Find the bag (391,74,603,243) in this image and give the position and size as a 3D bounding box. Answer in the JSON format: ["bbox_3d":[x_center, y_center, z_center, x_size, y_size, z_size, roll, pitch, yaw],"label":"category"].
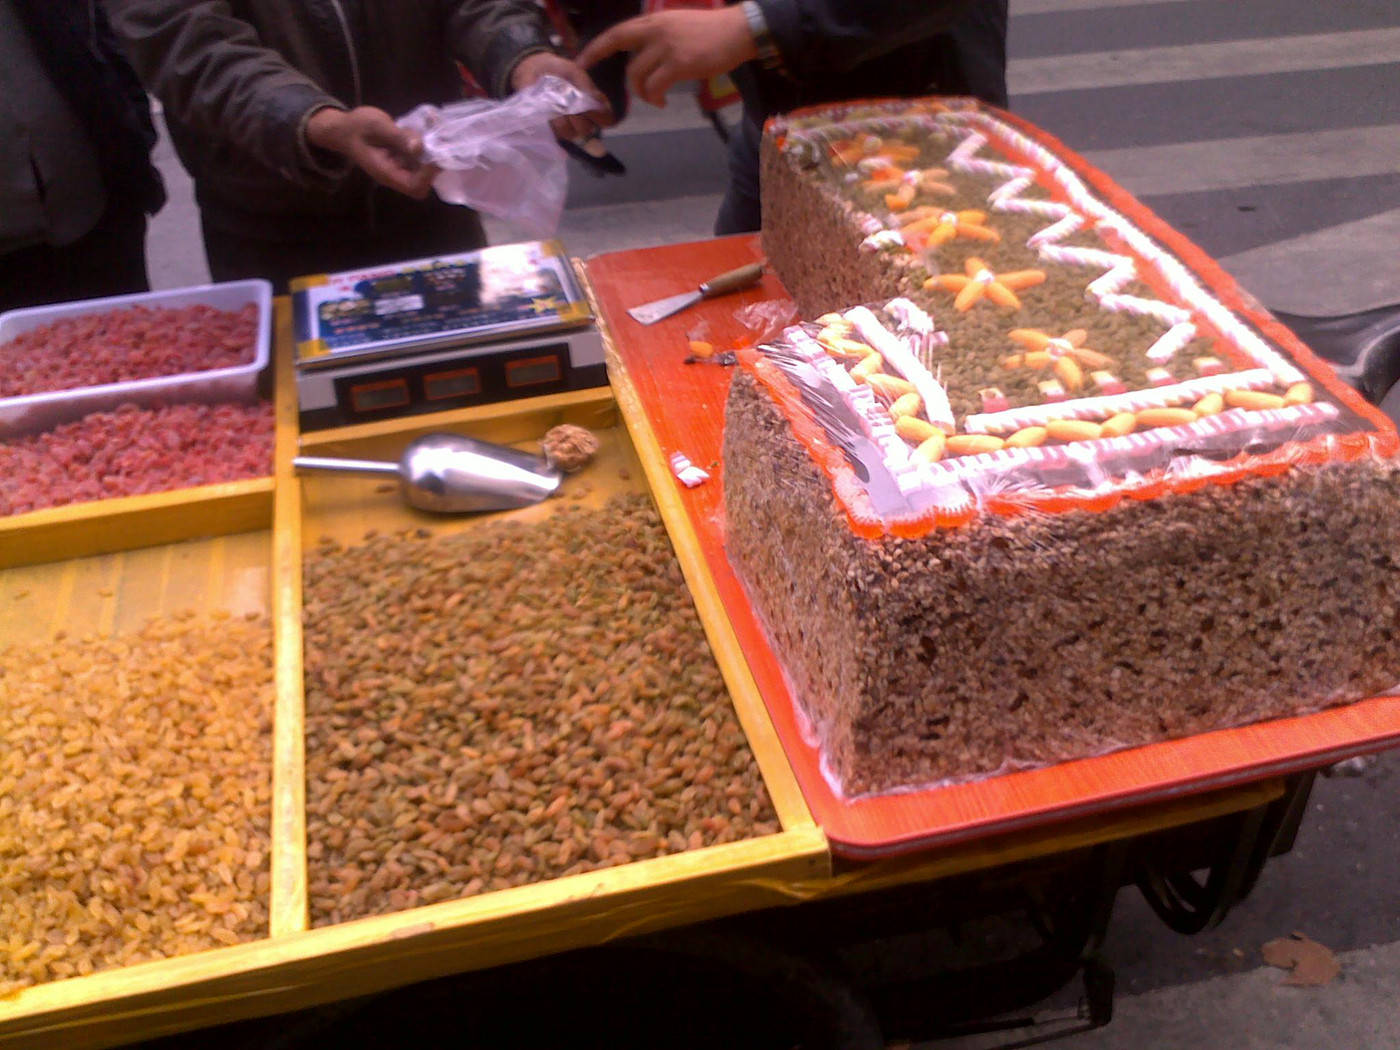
[{"bbox_3d":[-0.510,-0.860,2.564,0.389,0.378,0.140,-26,9,-20],"label":"bag"}]

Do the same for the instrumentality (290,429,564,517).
[{"bbox_3d":[-0.598,-0.107,2.317,0.508,0.132,0.226,5,33,-7],"label":"instrumentality"}]

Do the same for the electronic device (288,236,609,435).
[{"bbox_3d":[-0.616,-0.489,2.581,0.711,0.224,0.472,-14,47,-2],"label":"electronic device"}]

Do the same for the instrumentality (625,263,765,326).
[{"bbox_3d":[-0.006,-0.592,2.764,0.324,0.057,0.080,-24,40,-13],"label":"instrumentality"}]
